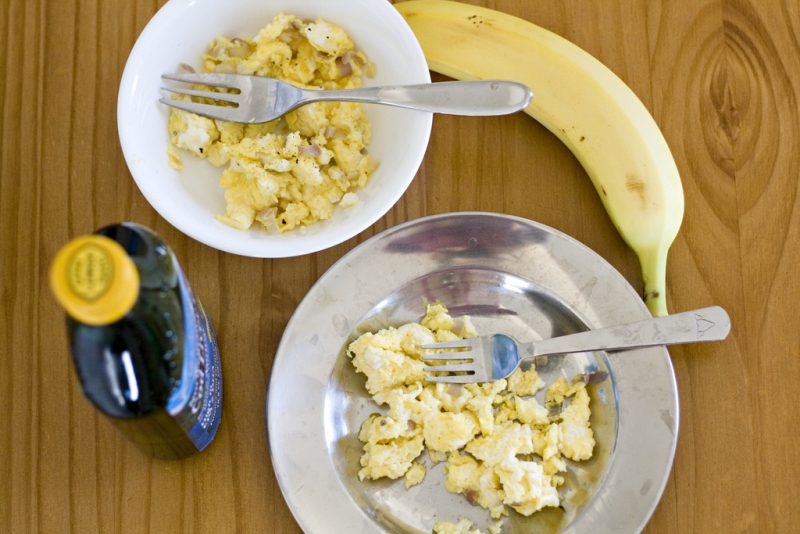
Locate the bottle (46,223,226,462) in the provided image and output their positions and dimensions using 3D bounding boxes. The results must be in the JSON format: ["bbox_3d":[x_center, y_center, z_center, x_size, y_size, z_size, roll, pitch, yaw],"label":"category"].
[{"bbox_3d":[-0.483,0.137,1.761,0.226,0.461,0.364,-10,68,-2],"label":"bottle"}]
